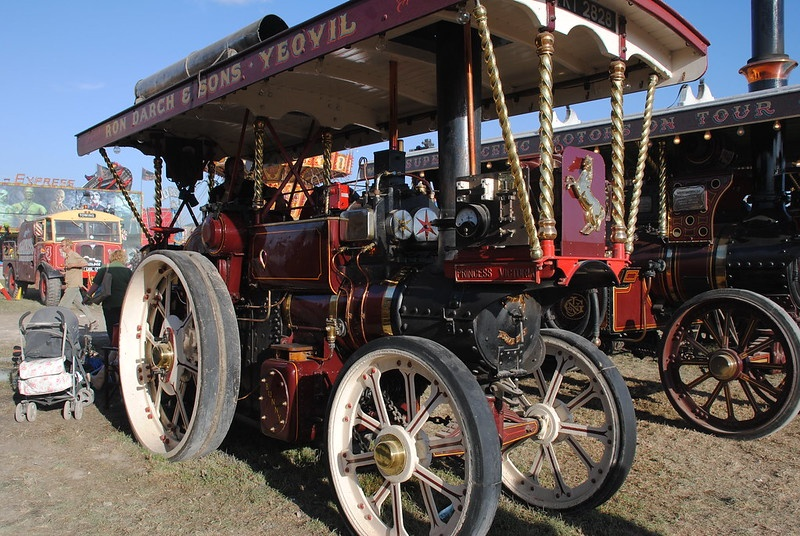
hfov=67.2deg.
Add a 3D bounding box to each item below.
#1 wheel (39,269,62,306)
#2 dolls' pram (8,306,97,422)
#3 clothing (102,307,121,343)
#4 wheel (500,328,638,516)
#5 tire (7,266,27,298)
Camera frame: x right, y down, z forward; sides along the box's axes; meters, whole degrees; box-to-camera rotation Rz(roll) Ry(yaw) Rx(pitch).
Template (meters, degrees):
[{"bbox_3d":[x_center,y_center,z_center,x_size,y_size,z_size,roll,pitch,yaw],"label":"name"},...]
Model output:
[{"bbox_3d":[-9.702,0.588,16.756,1.002,1.083,0.329,10,7,44],"label":"wheel"},{"bbox_3d":[-4.328,1.076,7.645,0.638,1.250,1.186,0,11,-8],"label":"dolls' pram"},{"bbox_3d":[-4.111,0.798,8.660,0.139,0.650,0.165,-11,-12,-9],"label":"clothing"},{"bbox_3d":[1.516,1.458,5.494,0.314,1.393,1.266,4,8,-29],"label":"wheel"},{"bbox_3d":[-12.500,0.492,19.763,0.211,0.908,0.812,-9,4,-38],"label":"tire"}]
